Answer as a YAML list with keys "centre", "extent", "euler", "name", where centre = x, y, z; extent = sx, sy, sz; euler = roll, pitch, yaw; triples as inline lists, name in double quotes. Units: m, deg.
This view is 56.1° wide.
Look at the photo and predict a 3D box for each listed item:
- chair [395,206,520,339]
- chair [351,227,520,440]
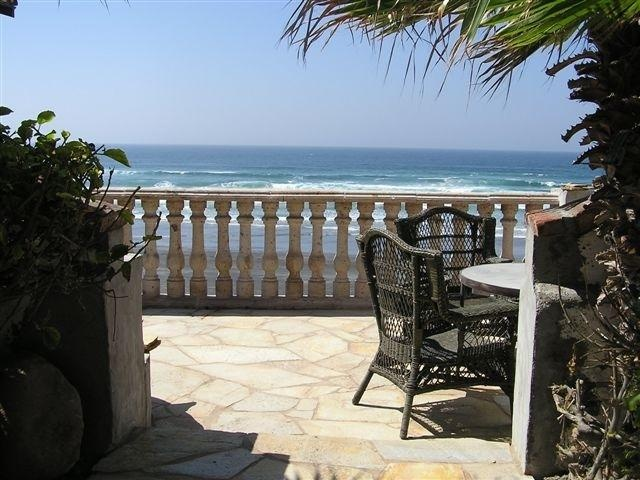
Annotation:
- centre: [1.033, 0.229, 4.681]
  extent: [0.831, 0.893, 0.684]
  euler: [-5, 11, -10]
  name: "chair"
- centre: [0.792, 0.599, 4.235]
  extent: [1.020, 1.114, 0.907]
  euler: [1, 1, -24]
  name: "chair"
